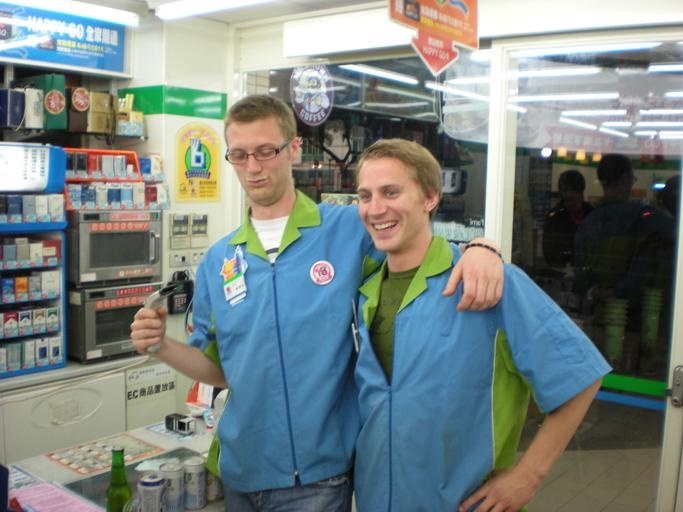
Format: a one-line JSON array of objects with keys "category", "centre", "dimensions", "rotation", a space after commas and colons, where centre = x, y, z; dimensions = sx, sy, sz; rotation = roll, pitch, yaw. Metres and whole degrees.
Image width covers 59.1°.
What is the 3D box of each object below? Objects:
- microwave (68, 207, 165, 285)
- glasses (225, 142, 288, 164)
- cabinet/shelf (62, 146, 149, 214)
[{"category": "microwave", "centre": [-1.998, -0.089, 5.301], "dimensions": [0.530, 0.732, 0.904], "rotation": [1, 1, 36]}, {"category": "glasses", "centre": [-0.378, -0.436, 2.632], "dimensions": [0.143, 0.045, 0.151], "rotation": [-11, 7, 13]}, {"category": "cabinet/shelf", "centre": [-2.028, -0.616, 5.156], "dimensions": [0.188, 0.485, 0.590], "rotation": [-2, -1, 42]}]
